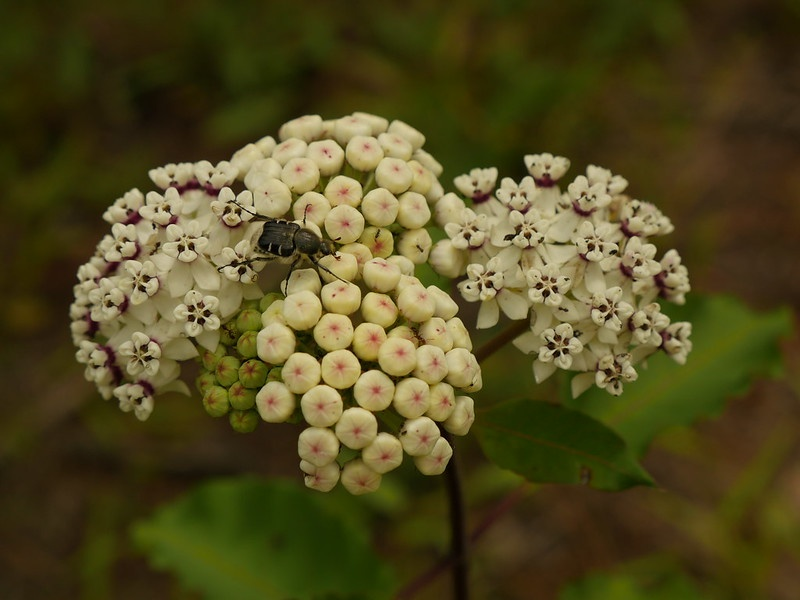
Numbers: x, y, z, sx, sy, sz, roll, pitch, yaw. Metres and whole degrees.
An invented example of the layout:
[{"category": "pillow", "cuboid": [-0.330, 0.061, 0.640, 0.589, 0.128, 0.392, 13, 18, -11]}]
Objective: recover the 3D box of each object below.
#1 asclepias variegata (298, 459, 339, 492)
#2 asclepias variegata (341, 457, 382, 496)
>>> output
[{"category": "asclepias variegata", "cuboid": [-0.655, 1.422, 7.332, 0.258, 0.181, 0.278, 3, 106, 10]}, {"category": "asclepias variegata", "cuboid": [-0.321, 1.433, 7.308, 0.284, 0.195, 0.297, -21, 95, -8]}]
